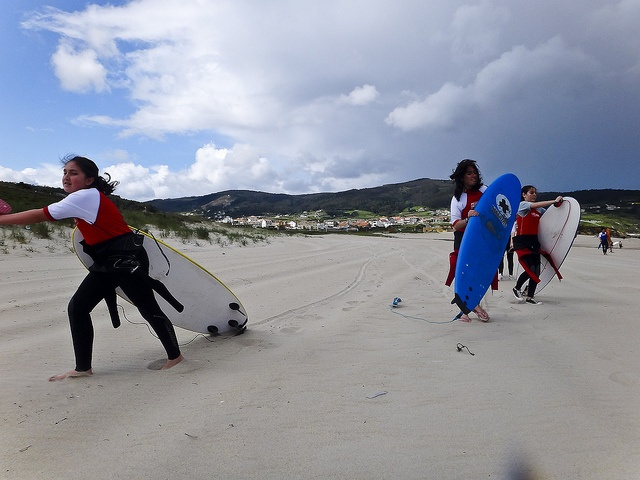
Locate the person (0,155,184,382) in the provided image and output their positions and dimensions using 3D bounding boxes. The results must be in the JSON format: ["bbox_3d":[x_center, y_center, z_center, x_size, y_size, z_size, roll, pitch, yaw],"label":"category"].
[{"bbox_3d":[-2.048,0.427,4.023,1.310,1.846,0.385,-5,6,-35],"label":"person"}]

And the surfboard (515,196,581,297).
[{"bbox_3d":[3.882,-0.182,6.949,0.353,0.884,2.680,-46,3,38],"label":"surfboard"}]

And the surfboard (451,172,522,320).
[{"bbox_3d":[2.229,-0.010,5.612,0.299,1.769,1.552,2,7,42],"label":"surfboard"}]
